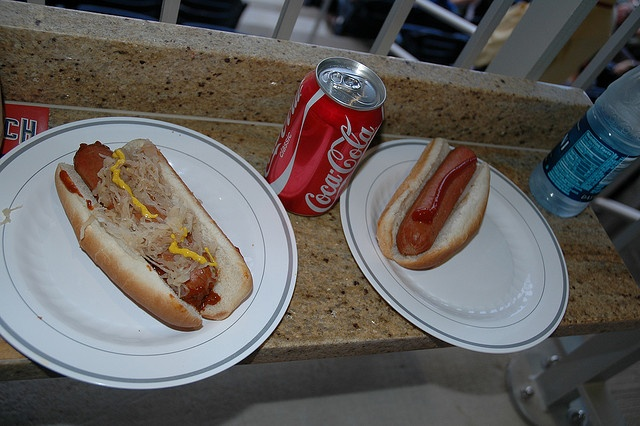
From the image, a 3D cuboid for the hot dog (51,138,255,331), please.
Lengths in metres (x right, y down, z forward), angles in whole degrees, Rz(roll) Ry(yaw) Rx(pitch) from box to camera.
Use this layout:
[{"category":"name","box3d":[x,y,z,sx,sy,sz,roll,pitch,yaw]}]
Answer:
[{"category":"hot dog","box3d":[-0.658,0.107,1.772,0.821,0.292,0.418,52,42,5]}]

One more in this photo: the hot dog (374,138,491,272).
[{"category":"hot dog","box3d":[0.460,0.014,2.021,0.323,0.196,0.593,30,66,13]}]
